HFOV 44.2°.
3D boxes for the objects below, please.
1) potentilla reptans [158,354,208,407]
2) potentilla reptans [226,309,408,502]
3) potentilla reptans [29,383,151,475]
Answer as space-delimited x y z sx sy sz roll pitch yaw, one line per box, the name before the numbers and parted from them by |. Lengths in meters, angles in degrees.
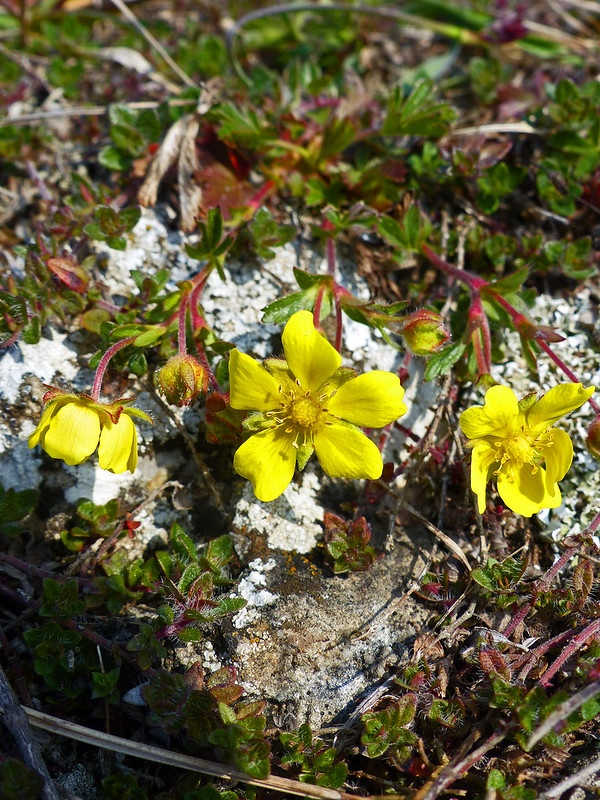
potentilla reptans | -0.363 -0.069 2.402 0.181 0.143 0.124 -26 38 -35
potentilla reptans | 0.026 0.035 2.384 0.589 0.146 0.633 -36 71 -24
potentilla reptans | -0.701 0.077 2.425 0.396 0.178 0.350 19 0 -15
